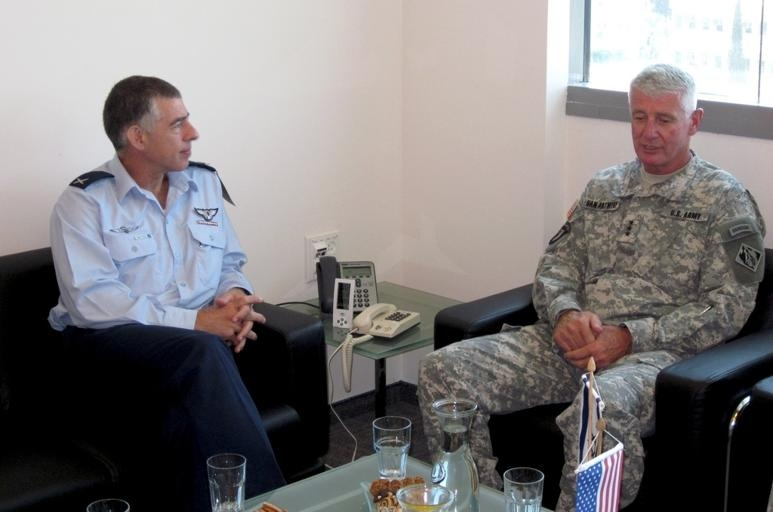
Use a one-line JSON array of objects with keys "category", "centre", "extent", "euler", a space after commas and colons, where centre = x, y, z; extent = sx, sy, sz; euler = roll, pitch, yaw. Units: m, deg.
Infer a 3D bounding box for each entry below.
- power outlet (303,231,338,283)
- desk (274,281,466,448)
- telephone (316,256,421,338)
[{"category": "power outlet", "centre": [-0.362, 0.009, 3.249], "extent": [0.068, 0.295, 0.265], "euler": [5, 8, 43]}, {"category": "desk", "centre": [-0.048, 0.497, 3.221], "extent": [0.758, 0.720, 0.774], "euler": [17, 26, 38]}, {"category": "telephone", "centre": [-0.094, 0.196, 3.028], "extent": [0.474, 0.333, 0.352], "euler": [13, 18, 23]}]
